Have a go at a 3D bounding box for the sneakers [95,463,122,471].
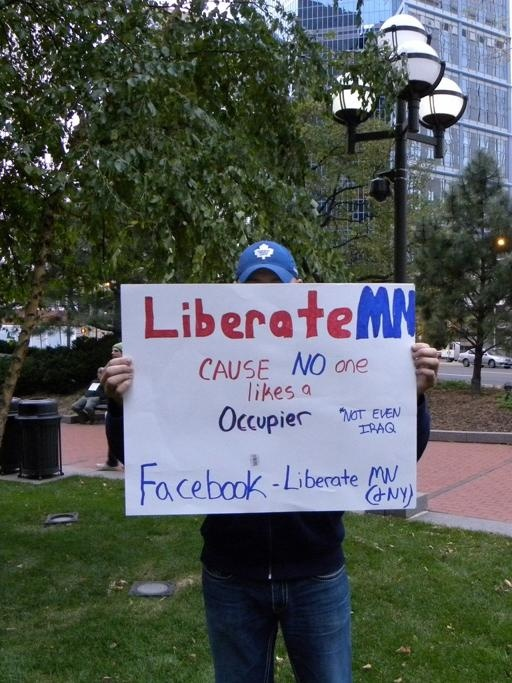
[{"bbox_3d":[-1.939,1.617,10.076,0.368,0.149,0.126,1,-7,-1],"label":"sneakers"}]
